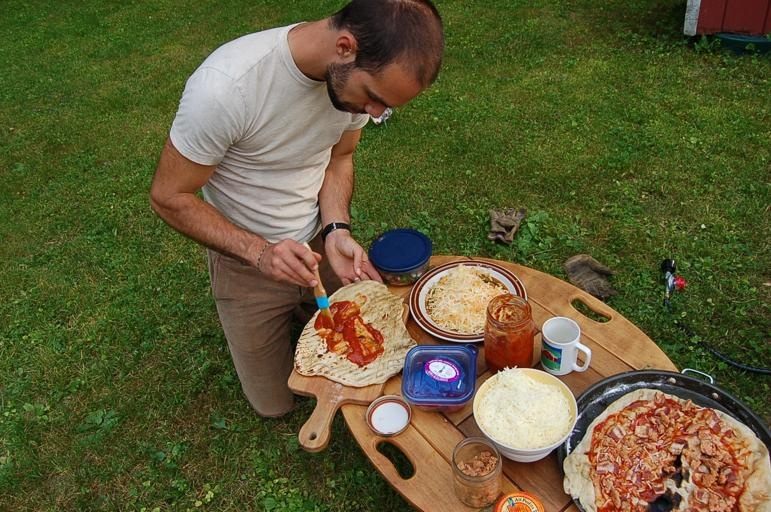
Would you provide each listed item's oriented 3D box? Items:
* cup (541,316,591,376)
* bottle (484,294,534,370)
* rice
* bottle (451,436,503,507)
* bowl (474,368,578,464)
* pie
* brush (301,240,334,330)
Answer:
[{"bbox_3d":[1.214,0.601,3.717,0.319,0.437,0.287,-19,37,-18],"label":"cup"},{"bbox_3d":[0.833,0.526,3.651,0.290,0.520,0.341,-5,50,6],"label":"bottle"},{"bbox_3d":[0.873,0.990,3.419,0.458,0.186,0.472,31,63,26],"label":"rice"},{"bbox_3d":[0.540,1.319,3.436,0.336,0.408,0.395,-3,41,4],"label":"bottle"},{"bbox_3d":[0.901,0.998,3.413,0.536,0.242,0.595,-4,57,3],"label":"bowl"},{"bbox_3d":[-0.237,0.645,4.021,0.625,0.656,0.879,-25,41,-27],"label":"pie"},{"bbox_3d":[-0.480,0.224,4.063,0.198,0.212,0.636,4,82,5],"label":"brush"}]
